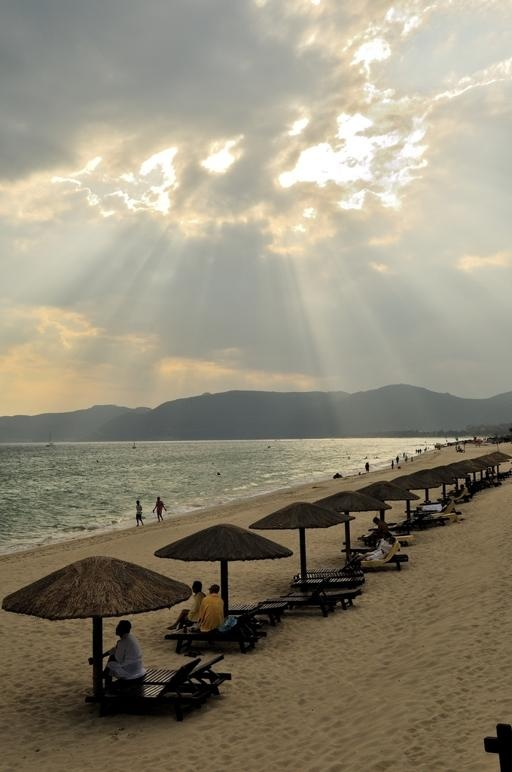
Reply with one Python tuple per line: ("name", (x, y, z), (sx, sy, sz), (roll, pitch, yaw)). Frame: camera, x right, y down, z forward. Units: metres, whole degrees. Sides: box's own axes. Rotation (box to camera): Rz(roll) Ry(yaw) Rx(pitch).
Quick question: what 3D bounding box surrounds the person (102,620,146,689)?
("person", (-1.699, 3.330, 7.804), (0.533, 0.836, 0.322), (-4, 0, 17))
